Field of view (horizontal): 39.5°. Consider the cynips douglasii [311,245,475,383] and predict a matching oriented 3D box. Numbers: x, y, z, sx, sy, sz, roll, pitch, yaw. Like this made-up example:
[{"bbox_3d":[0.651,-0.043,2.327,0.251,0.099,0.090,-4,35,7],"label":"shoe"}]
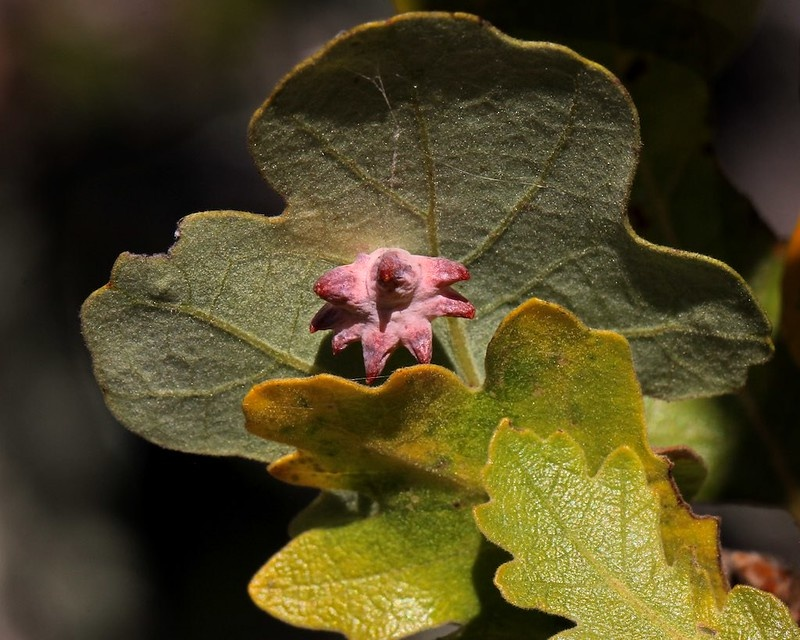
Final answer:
[{"bbox_3d":[-0.007,-0.012,0.988,0.123,0.129,0.054,18,-2,-3],"label":"cynips douglasii"}]
